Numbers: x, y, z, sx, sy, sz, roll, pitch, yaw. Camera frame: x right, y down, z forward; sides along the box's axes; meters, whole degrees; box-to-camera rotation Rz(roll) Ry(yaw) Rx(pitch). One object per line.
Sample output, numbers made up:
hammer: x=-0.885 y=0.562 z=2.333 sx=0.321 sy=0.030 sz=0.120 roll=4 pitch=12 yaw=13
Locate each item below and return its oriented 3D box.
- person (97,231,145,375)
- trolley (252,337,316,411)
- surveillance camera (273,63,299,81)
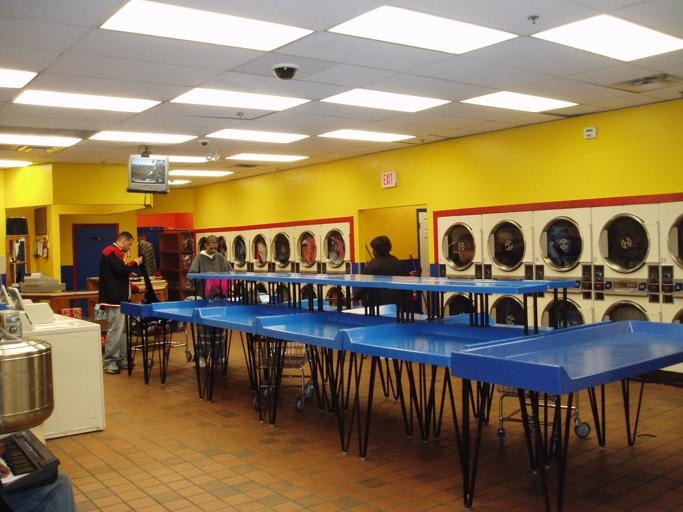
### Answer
person: x=-3.389 y=0.711 z=8.360 sx=0.767 sy=2.133 sz=0.459 roll=1 pitch=3 yaw=37
trolley: x=-0.674 y=1.289 z=6.467 sx=0.666 sy=0.775 sz=0.616 roll=5 pitch=-8 yaw=-22
surveillance camera: x=-0.553 y=-1.846 z=5.477 sx=0.242 sy=0.086 sz=0.183 roll=-2 pitch=2 yaw=-6
